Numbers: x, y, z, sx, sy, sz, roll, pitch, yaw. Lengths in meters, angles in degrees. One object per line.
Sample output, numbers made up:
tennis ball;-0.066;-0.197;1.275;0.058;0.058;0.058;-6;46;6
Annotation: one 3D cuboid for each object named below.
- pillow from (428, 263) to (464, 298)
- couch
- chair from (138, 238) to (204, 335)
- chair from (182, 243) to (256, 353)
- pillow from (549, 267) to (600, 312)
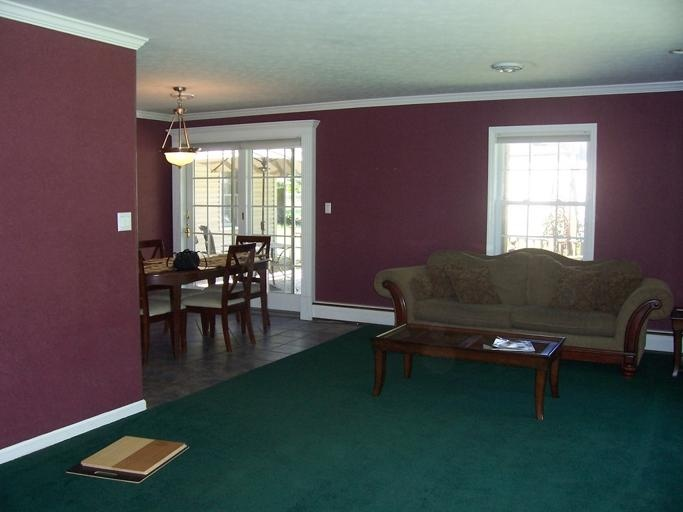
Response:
pillow;1.116;0.286;5.462;0.334;0.345;0.111;-3;-16;-24
couch;1.878;0.531;5.251;2.683;1.092;0.892;2;5;29
chair;-1.942;0.278;5.292;0.498;0.840;0.511;-20;5;-39
chair;-1.414;0.455;5.664;0.820;1.110;0.799;2;3;38
pillow;2.362;0.340;4.966;0.408;0.377;0.126;-4;-25;42
